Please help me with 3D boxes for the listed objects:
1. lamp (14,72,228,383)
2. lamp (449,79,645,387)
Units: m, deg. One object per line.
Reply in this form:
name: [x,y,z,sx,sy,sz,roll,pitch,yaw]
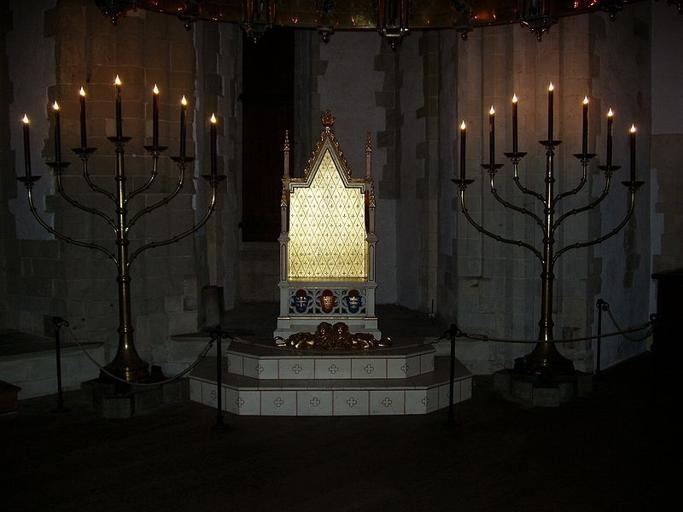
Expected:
lamp: [-2.030,-0.183,6.840,1.582,2.856,1.714,-6,16,-23]
lamp: [1.890,-0.315,7.090,1.691,2.594,1.644,5,15,21]
